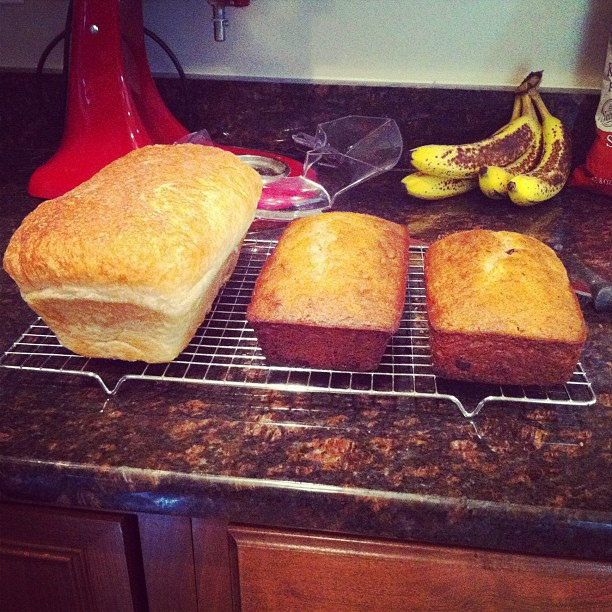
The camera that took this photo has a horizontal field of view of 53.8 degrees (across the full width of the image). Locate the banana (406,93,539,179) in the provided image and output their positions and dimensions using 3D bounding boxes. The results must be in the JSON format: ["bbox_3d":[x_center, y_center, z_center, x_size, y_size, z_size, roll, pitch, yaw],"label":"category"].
[{"bbox_3d":[0.413,-0.410,1.488,0.351,0.196,0.103,-16,6,-8],"label":"banana"}]

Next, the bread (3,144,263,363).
[{"bbox_3d":[-0.268,-0.102,1.026,0.303,0.238,0.397,6,32,8],"label":"bread"}]

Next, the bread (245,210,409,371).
[{"bbox_3d":[0.028,-0.041,1.024,0.240,0.149,0.319,2,35,-1],"label":"bread"}]

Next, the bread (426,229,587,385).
[{"bbox_3d":[0.318,-0.020,0.982,0.241,0.151,0.312,0,32,9],"label":"bread"}]

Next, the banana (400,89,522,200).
[{"bbox_3d":[0.413,-0.408,1.488,0.346,0.196,0.093,-17,40,-13],"label":"banana"}]
